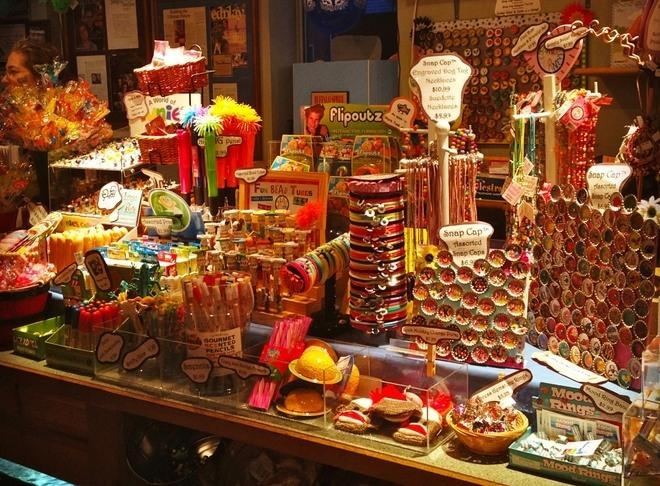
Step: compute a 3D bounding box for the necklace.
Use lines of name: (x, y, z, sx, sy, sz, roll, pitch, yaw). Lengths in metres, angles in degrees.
necklace: (0.458, -0.157, 2.002, 0.286, 0.382, 0.312, 2, 7, 26)

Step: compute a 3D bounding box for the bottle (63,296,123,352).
bottle: (-0.893, 0.286, 2.045, 0.194, 0.205, 0.198, 9, 15, 33)

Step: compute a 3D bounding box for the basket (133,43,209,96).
basket: (-0.797, -0.866, 2.612, 0.330, 0.268, 0.245, -4, 15, -21)

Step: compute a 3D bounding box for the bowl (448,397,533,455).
bowl: (0.441, 0.576, 1.568, 0.208, 0.106, 0.221, 2, -11, 0)

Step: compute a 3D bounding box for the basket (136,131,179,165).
basket: (-0.839, -0.459, 2.517, 0.144, 0.098, 0.192, 0, 15, -1)

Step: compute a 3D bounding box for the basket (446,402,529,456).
basket: (0.469, 0.545, 1.520, 0.154, 0.068, 0.159, -4, 13, -25)
